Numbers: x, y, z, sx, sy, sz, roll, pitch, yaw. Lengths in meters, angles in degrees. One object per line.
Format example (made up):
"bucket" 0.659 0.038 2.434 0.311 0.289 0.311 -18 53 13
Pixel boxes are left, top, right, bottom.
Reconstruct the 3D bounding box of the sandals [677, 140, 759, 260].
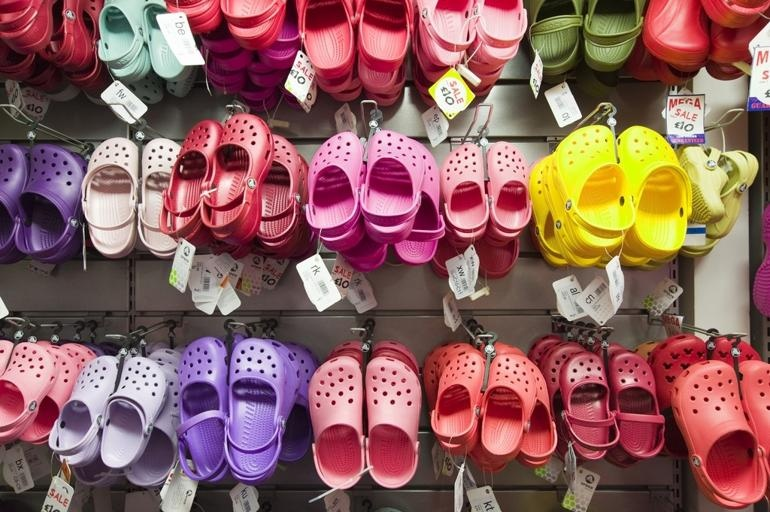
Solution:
"sandals" 1.298 -0.196 2.418 0.256 0.155 0.484 5 95 -18
